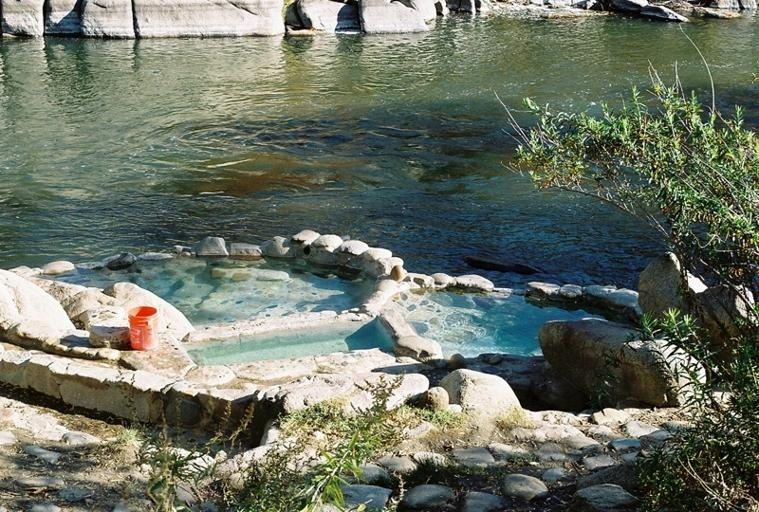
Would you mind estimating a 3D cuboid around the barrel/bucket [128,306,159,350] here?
[{"bbox_3d":[-2.915,0.882,8.019,0.374,0.526,0.324,-6,21,-16],"label":"barrel/bucket"}]
